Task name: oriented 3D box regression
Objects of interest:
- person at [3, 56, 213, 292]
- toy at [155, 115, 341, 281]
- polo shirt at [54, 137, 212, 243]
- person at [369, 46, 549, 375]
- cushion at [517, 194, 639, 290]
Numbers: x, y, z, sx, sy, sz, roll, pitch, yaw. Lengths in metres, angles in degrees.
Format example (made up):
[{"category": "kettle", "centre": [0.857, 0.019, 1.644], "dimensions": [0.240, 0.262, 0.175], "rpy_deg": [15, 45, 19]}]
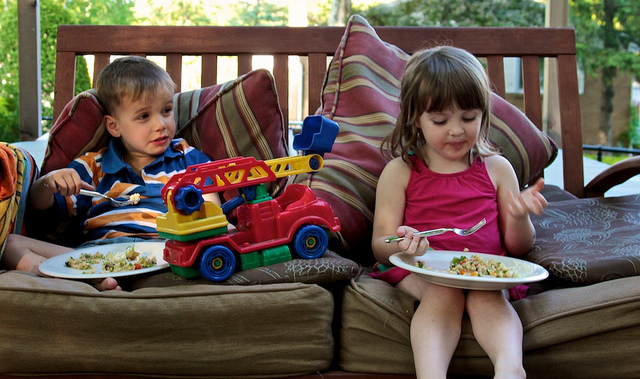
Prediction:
[{"category": "person", "centre": [-0.751, -0.025, 2.833], "dimensions": [0.962, 1.182, 0.914], "rpy_deg": [2, -4, -7]}, {"category": "toy", "centre": [-0.273, 0.053, 2.311], "dimensions": [0.587, 0.484, 0.212], "rpy_deg": [-9, 9, -25]}, {"category": "polo shirt", "centre": [-0.862, -0.001, 2.566], "dimensions": [0.512, 0.534, 0.184], "rpy_deg": [-20, -10, -10]}, {"category": "person", "centre": [0.535, 0.044, 2.288], "dimensions": [0.695, 1.242, 0.658], "rpy_deg": [3, 6, 19]}, {"category": "cushion", "centre": [1.139, 0.204, 2.438], "dimensions": [0.427, 0.107, 0.417], "rpy_deg": [-12, 29, -7]}]
